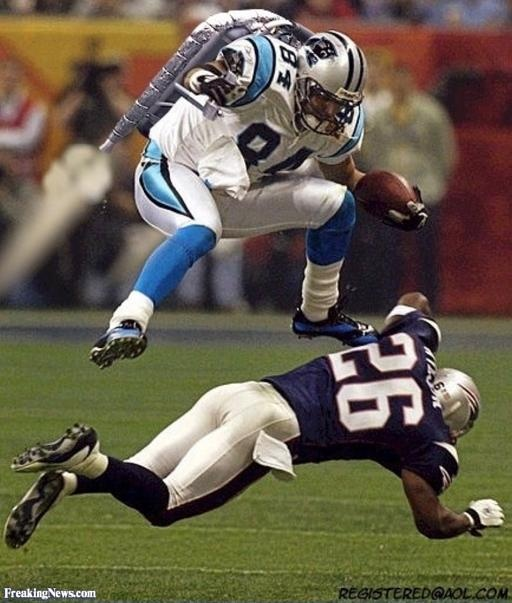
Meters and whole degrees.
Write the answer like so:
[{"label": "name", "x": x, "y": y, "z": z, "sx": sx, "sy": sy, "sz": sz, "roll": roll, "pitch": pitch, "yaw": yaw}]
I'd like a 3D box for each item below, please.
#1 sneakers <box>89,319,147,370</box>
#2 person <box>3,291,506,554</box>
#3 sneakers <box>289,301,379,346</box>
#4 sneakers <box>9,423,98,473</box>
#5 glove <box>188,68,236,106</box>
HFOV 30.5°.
[{"label": "sneakers", "x": -0.433, "y": 0.135, "z": 2.698, "sx": 0.197, "sy": 0.117, "sz": 0.076, "roll": -25, "pitch": 52, "yaw": 13}, {"label": "person", "x": 0.028, "y": 0.242, "z": 2.819, "sx": 1.198, "sy": 0.554, "sz": 0.870, "roll": -1, "pitch": 48, "yaw": 2}, {"label": "sneakers", "x": 0.240, "y": 0.079, "z": 3.864, "sx": 0.462, "sy": 0.183, "sz": 0.129, "roll": 7, "pitch": 23, "yaw": -6}, {"label": "sneakers", "x": -0.528, "y": 0.380, "z": 2.361, "sx": 0.237, "sy": 0.076, "sz": 0.074, "roll": -8, "pitch": 19, "yaw": -37}, {"label": "glove", "x": -0.144, "y": -0.671, "z": 2.967, "sx": 0.096, "sy": 0.046, "sz": 0.164, "roll": -42, "pitch": 47, "yaw": -17}]
